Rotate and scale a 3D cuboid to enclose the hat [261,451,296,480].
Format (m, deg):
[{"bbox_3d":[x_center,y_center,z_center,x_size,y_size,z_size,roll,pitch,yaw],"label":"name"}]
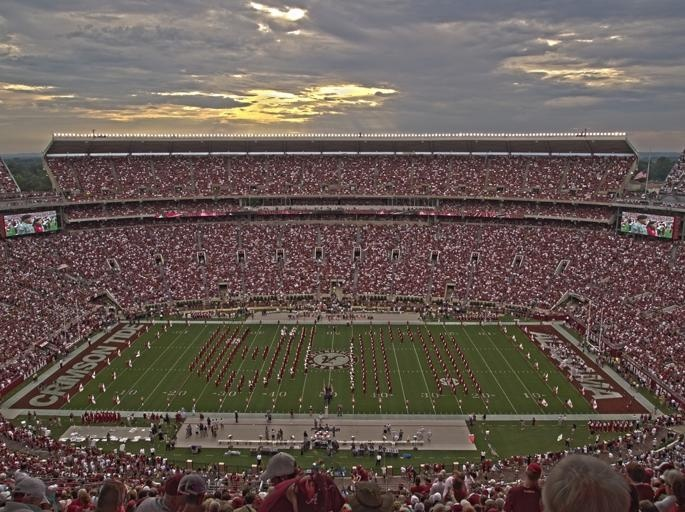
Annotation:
[{"bbox_3d":[-0.959,3.074,7.514,0.503,0.638,0.317,-4,20,-6],"label":"hat"}]
